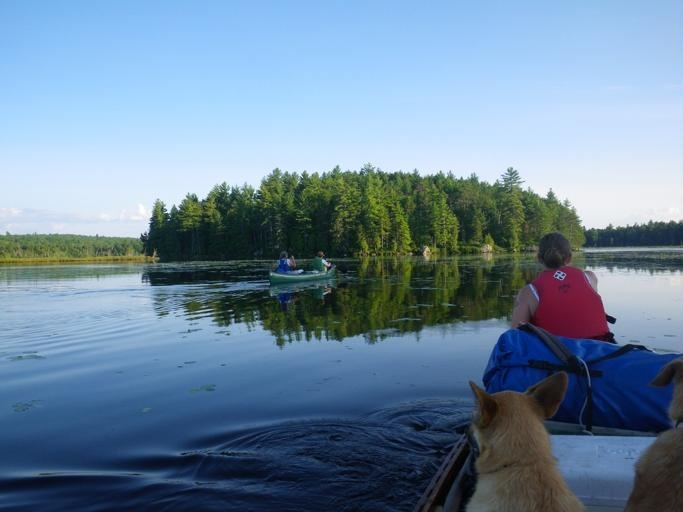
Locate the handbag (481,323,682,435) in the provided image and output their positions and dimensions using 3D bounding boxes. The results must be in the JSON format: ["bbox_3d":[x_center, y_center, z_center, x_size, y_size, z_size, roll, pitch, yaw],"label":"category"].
[{"bbox_3d":[2.297,1.141,6.120,1.409,0.520,1.007,5,29,18],"label":"handbag"}]

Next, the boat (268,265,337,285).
[{"bbox_3d":[-1.671,0.849,25.743,0.714,0.626,3.656,0,3,39],"label":"boat"}]
